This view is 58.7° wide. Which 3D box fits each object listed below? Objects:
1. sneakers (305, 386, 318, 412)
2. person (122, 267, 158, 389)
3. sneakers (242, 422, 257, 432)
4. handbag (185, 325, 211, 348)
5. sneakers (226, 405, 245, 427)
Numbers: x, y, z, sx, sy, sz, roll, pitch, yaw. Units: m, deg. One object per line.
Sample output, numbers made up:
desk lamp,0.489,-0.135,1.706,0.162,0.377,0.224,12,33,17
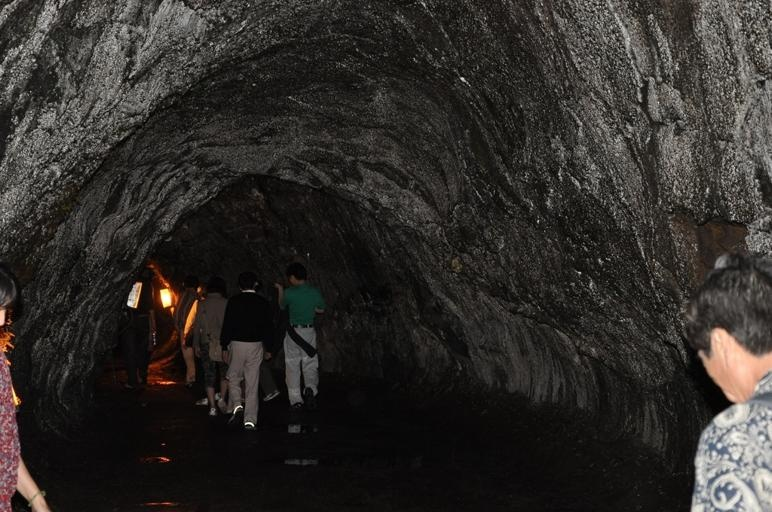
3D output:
sneakers,-1.185,2.215,10.704,0.159,0.196,0.435,-8,-50,6
person,-4.640,1.331,12.762,0.511,2.221,1.587,1,-1,-18
sneakers,-1.872,2.294,9.404,0.165,0.107,0.223,1,-1,-12
handbag,-2.991,1.264,10.874,0.391,0.403,0.219,8,-28,-14
sneakers,-2.136,2.215,9.715,0.208,0.270,0.334,1,-1,-13
